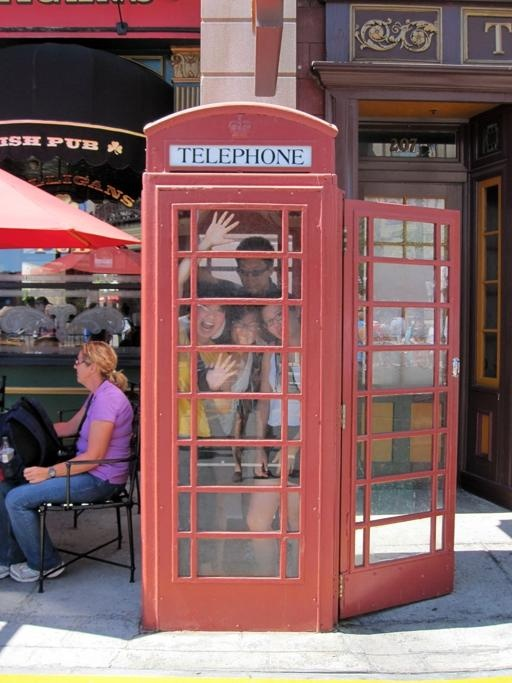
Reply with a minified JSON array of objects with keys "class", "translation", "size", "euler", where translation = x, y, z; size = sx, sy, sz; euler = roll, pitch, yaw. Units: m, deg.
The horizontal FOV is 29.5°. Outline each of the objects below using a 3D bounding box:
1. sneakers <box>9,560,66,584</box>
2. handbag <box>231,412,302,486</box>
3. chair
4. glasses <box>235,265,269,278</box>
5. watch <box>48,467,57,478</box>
[{"class":"sneakers","translation":[-1.258,1.331,5.588],"size":[0.299,0.125,0.120],"euler":[7,1,-8]},{"class":"handbag","translation":[0.054,0.541,5.034],"size":[0.416,0.376,0.100],"euler":[1,-1,2]},{"class":"chair","translation":[-1.015,0.894,5.784],"size":[0.671,0.979,0.640],"euler":[-2,4,-25]},{"class":"glasses","translation":[-0.018,-0.354,4.962],"size":[0.156,0.047,0.020],"euler":[0,10,-6]},{"class":"watch","translation":[-1.158,0.745,5.498],"size":[0.041,0.062,0.057],"euler":[1,0,-10]}]
